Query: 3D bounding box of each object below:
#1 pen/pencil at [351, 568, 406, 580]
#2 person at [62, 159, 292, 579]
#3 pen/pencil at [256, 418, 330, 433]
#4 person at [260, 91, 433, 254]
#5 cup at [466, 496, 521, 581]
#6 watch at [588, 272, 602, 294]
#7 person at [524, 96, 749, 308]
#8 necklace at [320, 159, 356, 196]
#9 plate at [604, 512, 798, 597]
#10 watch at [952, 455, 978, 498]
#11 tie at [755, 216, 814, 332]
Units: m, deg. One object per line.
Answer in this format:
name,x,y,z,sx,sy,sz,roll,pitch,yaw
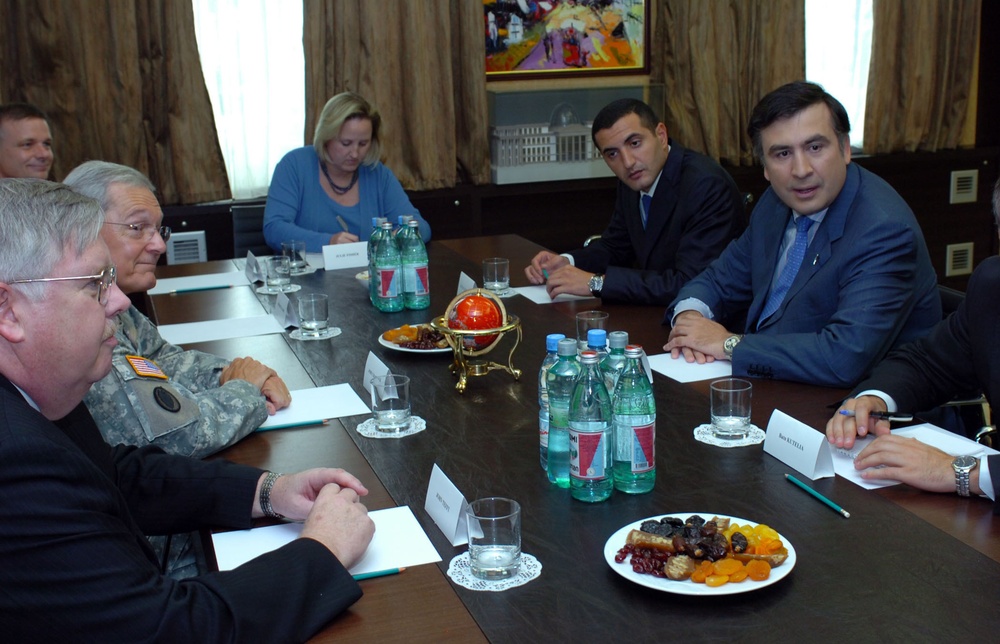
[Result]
pen/pencil,-0.256,0.536,1.511,0.109,0.013,0.012,-5,31,-17
person,-1.074,0.468,2.341,0.591,1.654,0.568,21,29,33
pen/pencil,-0.623,0.312,2.150,0.206,0.022,0.023,-4,31,-14
person,-0.949,-0.716,4.478,0.995,1.362,1.002,2,23,-18
cup,-0.006,0.447,1.536,0.146,0.171,0.151,-2,8,0
watch,0.430,-0.174,3.239,0.071,0.073,0.070,14,45,-26
person,0.772,-0.599,3.778,1.178,1.121,0.867,-18,21,-22
necklace,-1.013,-0.909,4.426,0.171,0.225,0.054,-4,18,-4
plate,0.428,0.471,1.491,0.413,0.092,0.236,-6,18,-3
watch,1.108,0.373,1.702,0.055,0.089,0.096,0,8,33
tie,1.149,-0.221,2.853,0.096,0.612,0.101,19,24,11
